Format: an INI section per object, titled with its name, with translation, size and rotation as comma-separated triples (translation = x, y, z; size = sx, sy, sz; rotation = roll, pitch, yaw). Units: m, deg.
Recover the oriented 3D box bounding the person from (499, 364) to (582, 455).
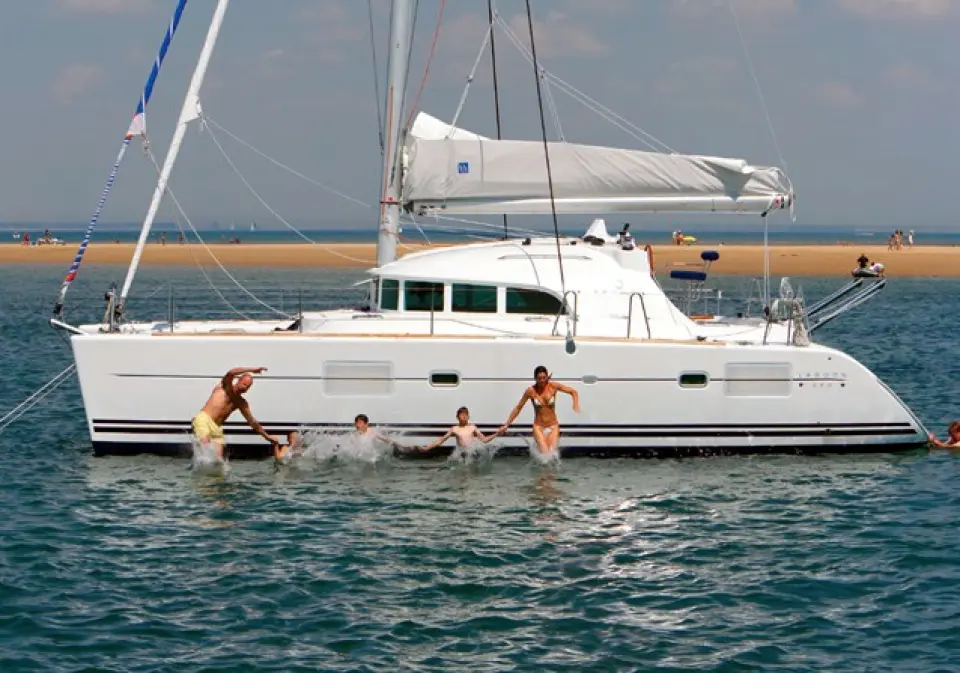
[person]
translation = 1.042, 1.242, 20.894
size = 1.272, 1.539, 0.384
rotation = 1, 15, 3
